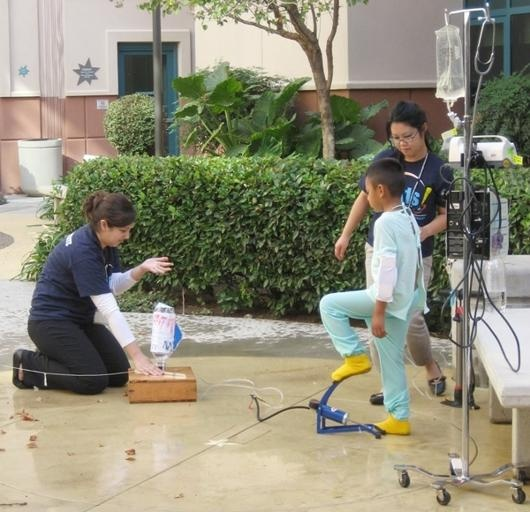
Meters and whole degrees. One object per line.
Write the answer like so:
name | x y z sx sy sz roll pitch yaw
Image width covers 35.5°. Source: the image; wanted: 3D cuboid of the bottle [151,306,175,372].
bottle | -0.655 0.512 5.333 0.157 0.449 0.221 0 10 -5

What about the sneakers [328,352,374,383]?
sneakers | 0.457 0.608 4.559 0.233 0.120 0.147 -1 0 42

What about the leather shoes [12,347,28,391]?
leather shoes | -1.606 0.734 5.384 0.097 0.233 0.097 -2 7 -26

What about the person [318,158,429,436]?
person | 0.596 0.229 4.552 0.555 1.522 0.431 3 11 11

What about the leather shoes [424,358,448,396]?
leather shoes | 1.104 0.792 5.340 0.129 0.084 0.321 -15 21 13

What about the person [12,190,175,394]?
person | -1.142 0.242 5.318 0.924 1.309 0.655 -3 11 -20

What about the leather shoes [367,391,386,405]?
leather shoes | 0.705 0.888 5.167 0.055 0.046 0.125 2 5 -2

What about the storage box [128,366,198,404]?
storage box | -0.665 0.806 5.293 0.423 0.164 0.350 -1 9 -9

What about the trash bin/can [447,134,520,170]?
trash bin/can | 1.204 -0.572 4.508 0.396 0.171 0.715 2 8 9
